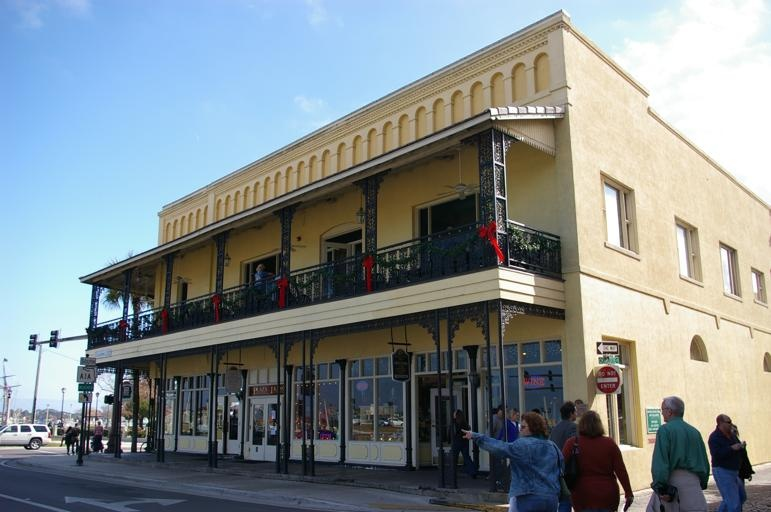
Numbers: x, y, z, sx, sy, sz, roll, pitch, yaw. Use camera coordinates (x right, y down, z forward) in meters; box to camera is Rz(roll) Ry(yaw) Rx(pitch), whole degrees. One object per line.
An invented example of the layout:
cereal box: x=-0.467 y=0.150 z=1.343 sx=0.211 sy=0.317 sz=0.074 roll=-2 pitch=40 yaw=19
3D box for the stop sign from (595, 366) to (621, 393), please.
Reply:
stop sign: x=5.607 y=3.074 z=17.021 sx=0.096 sy=0.606 sz=0.578 roll=14 pitch=-21 yaw=-34

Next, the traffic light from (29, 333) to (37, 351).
traffic light: x=-20.110 y=4.879 z=38.435 sx=0.319 sy=0.816 sz=0.416 roll=13 pitch=-22 yaw=-38

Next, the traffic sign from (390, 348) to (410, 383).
traffic sign: x=0.455 y=3.287 z=20.613 sx=0.222 sy=0.901 sz=0.740 roll=-16 pitch=-23 yaw=40

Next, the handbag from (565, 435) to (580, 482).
handbag: x=3.012 y=3.269 z=10.872 sx=0.179 sy=0.649 sz=0.486 roll=13 pitch=-12 yaw=11

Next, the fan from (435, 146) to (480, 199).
fan: x=2.155 y=-2.579 z=19.761 sx=1.025 sy=1.249 sz=1.088 roll=1 pitch=8 yaw=29

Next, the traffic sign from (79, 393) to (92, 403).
traffic sign: x=-11.061 y=5.164 z=24.817 sx=0.347 sy=0.398 sz=0.918 roll=4 pitch=-19 yaw=-15

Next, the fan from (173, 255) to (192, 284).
fan: x=-8.936 y=0.589 z=29.369 sx=1.216 sy=1.203 sz=0.289 roll=-3 pitch=1 yaw=42

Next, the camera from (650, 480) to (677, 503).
camera: x=4.528 y=3.776 z=10.982 sx=0.364 sy=0.279 sz=0.148 roll=-9 pitch=3 yaw=23

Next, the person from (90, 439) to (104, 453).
person: x=-13.301 y=8.638 z=31.108 sx=0.446 sy=0.671 sz=1.300 roll=6 pitch=-19 yaw=-21

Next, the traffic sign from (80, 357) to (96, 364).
traffic sign: x=-11.176 y=3.899 z=25.277 sx=0.501 sy=0.373 sz=0.726 roll=7 pitch=-20 yaw=-24
